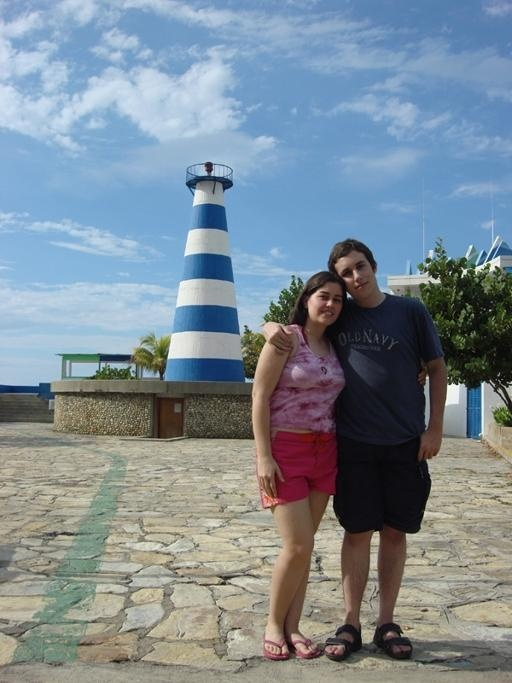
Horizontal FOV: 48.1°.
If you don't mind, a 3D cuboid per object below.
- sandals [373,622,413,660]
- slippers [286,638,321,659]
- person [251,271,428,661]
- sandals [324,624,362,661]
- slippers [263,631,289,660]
[{"bbox_3d":[0.578,1.272,2.438,0.083,0.064,0.176,0,-9,-7],"label":"sandals"},{"bbox_3d":[0.195,1.290,2.415,0.146,0.056,0.101,2,-2,7],"label":"slippers"},{"bbox_3d":[0.556,0.475,2.606,0.527,1.736,0.498,3,-2,6],"label":"person"},{"bbox_3d":[0.364,1.263,2.405,0.078,0.081,0.210,-5,-14,27],"label":"sandals"},{"bbox_3d":[0.082,1.276,2.393,0.112,0.060,0.115,2,-2,2],"label":"slippers"}]
